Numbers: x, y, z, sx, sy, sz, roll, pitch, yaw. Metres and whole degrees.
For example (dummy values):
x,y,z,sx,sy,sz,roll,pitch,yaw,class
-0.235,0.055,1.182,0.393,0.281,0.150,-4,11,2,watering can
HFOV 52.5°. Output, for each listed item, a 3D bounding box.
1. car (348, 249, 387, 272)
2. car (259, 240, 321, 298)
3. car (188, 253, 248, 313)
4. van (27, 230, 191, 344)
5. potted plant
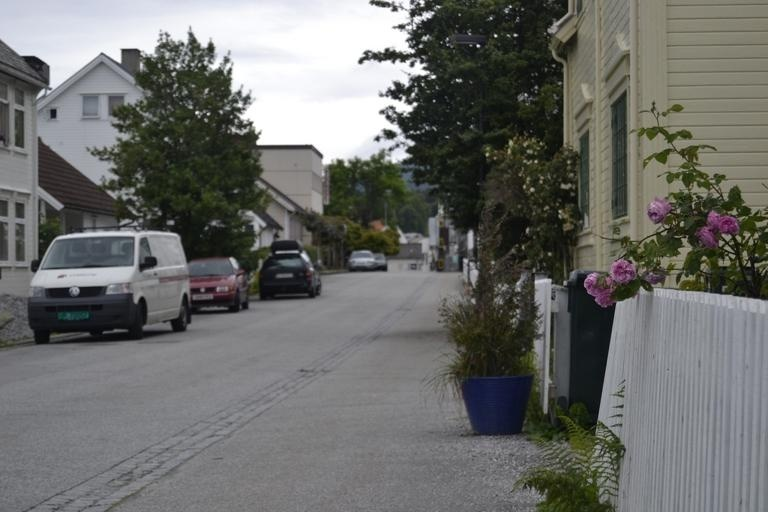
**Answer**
x,y,z,sx,sy,sz,roll,pitch,yaw,class
-1.351,0.405,69.430,2.351,1.798,5.014,-1,-3,14,car
-3.816,0.564,32.961,1.567,1.621,3.234,0,3,2,car
-5.426,0.909,25.582,1.769,1.826,2.004,1,-2,-15,car
-6.146,0.646,18.607,1.888,1.936,3.859,-2,-7,5,van
1.274,0.761,9.183,1.014,2.607,1.266,-1,-6,-11,potted plant
